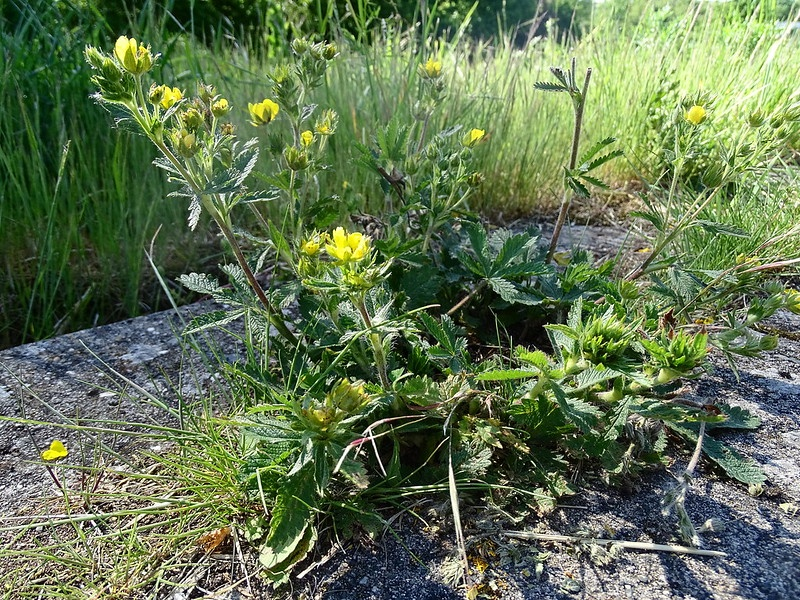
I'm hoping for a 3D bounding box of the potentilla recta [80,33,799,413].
[{"bbox_3d":[0.120,-0.327,2.753,1.440,0.848,1.611,19,31,29],"label":"potentilla recta"}]
